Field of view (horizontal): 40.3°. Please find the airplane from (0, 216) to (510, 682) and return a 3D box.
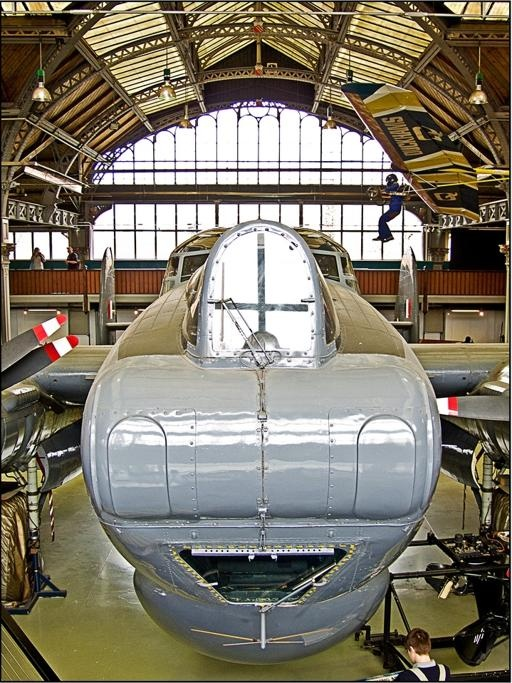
[{"bbox_3d":[0.077,0.689,6.641,5.417,2.198,4.028,0,21,1],"label":"airplane"}]
